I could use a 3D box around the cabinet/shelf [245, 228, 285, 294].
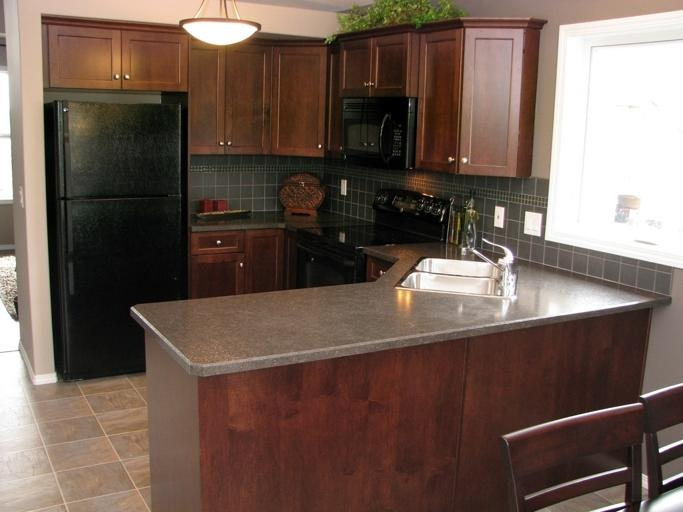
[{"bbox_3d":[-0.655,0.036,4.720,0.343,0.531,0.123,-1,14,-9],"label":"cabinet/shelf"}]

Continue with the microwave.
[{"bbox_3d":[0.306,-0.917,4.165,0.398,0.504,0.736,-13,22,-38],"label":"microwave"}]

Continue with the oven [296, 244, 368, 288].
[{"bbox_3d":[-0.062,0.101,4.158,0.306,0.476,0.565,0,8,-23],"label":"oven"}]

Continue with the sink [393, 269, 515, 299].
[{"bbox_3d":[0.652,0.161,3.161,0.368,0.126,0.249,-1,24,-4],"label":"sink"}]

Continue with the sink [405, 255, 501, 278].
[{"bbox_3d":[0.706,0.074,3.411,0.310,0.105,0.212,4,16,20],"label":"sink"}]

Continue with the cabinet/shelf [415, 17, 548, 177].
[{"bbox_3d":[0.898,-1.005,3.454,0.576,1.145,0.896,-5,11,-30],"label":"cabinet/shelf"}]

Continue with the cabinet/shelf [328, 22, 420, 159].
[{"bbox_3d":[0.253,-1.202,4.018,0.287,1.118,1.078,-3,9,-29],"label":"cabinet/shelf"}]

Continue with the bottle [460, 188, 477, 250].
[{"bbox_3d":[0.866,-0.236,3.742,0.109,0.361,0.355,4,14,12],"label":"bottle"}]

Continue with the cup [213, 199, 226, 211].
[{"bbox_3d":[-1.067,-0.437,4.939,0.085,0.124,0.127,4,6,39],"label":"cup"}]

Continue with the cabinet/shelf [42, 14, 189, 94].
[{"bbox_3d":[-1.738,-1.558,4.268,1.106,0.508,0.333,-12,35,-39],"label":"cabinet/shelf"}]
